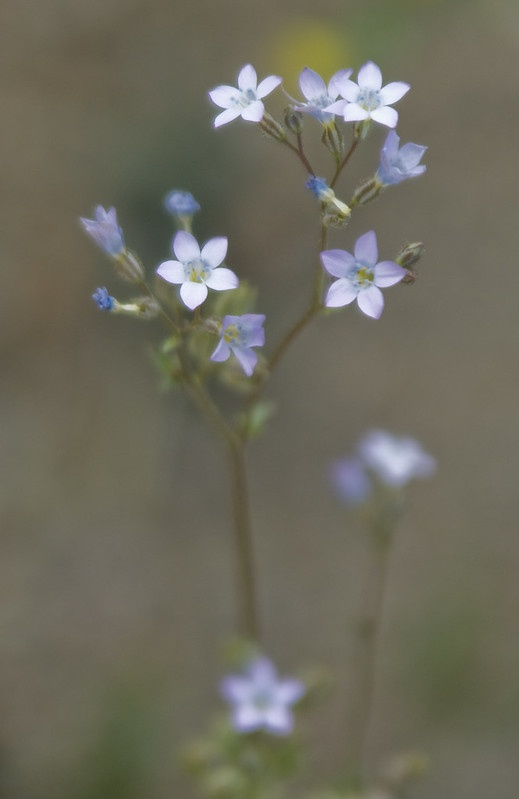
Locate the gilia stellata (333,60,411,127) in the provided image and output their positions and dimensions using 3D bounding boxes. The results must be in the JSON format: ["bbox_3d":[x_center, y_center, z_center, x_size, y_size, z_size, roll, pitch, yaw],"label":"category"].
[{"bbox_3d":[0.090,-0.249,0.675,0.064,0.058,0.020,2,68,6],"label":"gilia stellata"}]

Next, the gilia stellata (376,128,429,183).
[{"bbox_3d":[0.117,-0.197,0.686,0.043,0.029,0.045,4,81,-30],"label":"gilia stellata"}]

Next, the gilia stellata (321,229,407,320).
[{"bbox_3d":[0.080,-0.096,0.656,0.062,0.040,0.065,-23,70,-18],"label":"gilia stellata"}]

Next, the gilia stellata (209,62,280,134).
[{"bbox_3d":[-0.011,-0.255,0.719,0.063,0.022,0.060,-29,62,4],"label":"gilia stellata"}]

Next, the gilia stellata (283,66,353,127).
[{"bbox_3d":[0.046,-0.253,0.682,0.050,0.022,0.048,27,62,11],"label":"gilia stellata"}]
